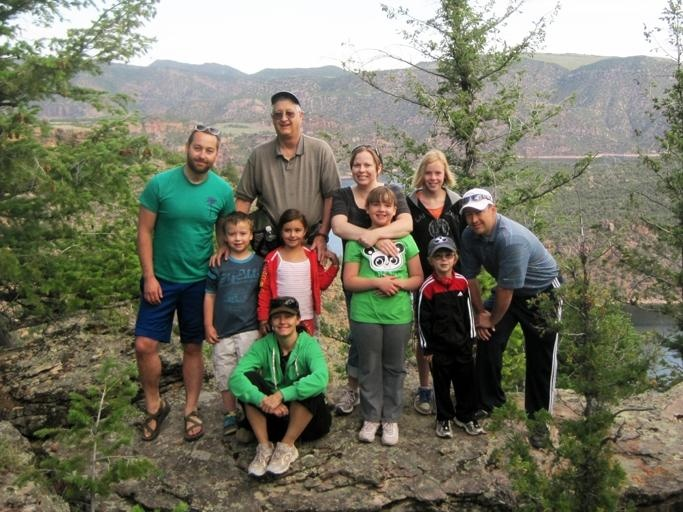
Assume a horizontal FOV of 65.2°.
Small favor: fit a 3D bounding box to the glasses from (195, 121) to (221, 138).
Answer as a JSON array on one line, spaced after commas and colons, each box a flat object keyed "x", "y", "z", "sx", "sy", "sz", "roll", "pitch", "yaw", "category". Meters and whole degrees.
[{"x": -1.528, "y": -1.433, "z": 6.097, "sx": 0.323, "sy": 0.156, "sz": 0.163, "roll": 3, "pitch": -3, "yaw": -43, "category": "glasses"}]

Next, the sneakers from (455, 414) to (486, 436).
[{"x": 1.553, "y": 2.012, "z": 6.459, "sx": 0.357, "sy": 0.164, "sz": 0.166, "roll": 13, "pitch": 17, "yaw": 37, "category": "sneakers"}]

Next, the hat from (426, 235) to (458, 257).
[{"x": 1.155, "y": -0.116, "z": 6.171, "sx": 0.310, "sy": 0.223, "sz": 0.211, "roll": 0, "pitch": -2, "yaw": 12, "category": "hat"}]

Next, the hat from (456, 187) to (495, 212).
[{"x": 1.573, "y": -0.651, "z": 6.164, "sx": 0.367, "sy": 0.296, "sz": 0.251, "roll": 0, "pitch": -2, "yaw": 10, "category": "hat"}]

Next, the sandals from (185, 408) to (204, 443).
[{"x": -1.759, "y": 2.025, "z": 6.322, "sx": 0.164, "sy": 0.174, "sz": 0.419, "roll": -3, "pitch": 5, "yaw": -19, "category": "sandals"}]

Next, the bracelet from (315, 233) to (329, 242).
[{"x": -0.224, "y": -0.245, "z": 6.641, "sx": 0.145, "sy": 0.100, "sz": 0.158, "roll": 13, "pitch": -13, "yaw": 31, "category": "bracelet"}]

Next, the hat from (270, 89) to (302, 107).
[{"x": -0.659, "y": -1.876, "z": 6.344, "sx": 0.360, "sy": 0.171, "sz": 0.364, "roll": 1, "pitch": -2, "yaw": -12, "category": "hat"}]

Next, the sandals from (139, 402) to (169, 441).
[{"x": -2.254, "y": 1.961, "z": 6.424, "sx": 0.187, "sy": 0.181, "sz": 0.511, "roll": 0, "pitch": 30, "yaw": 12, "category": "sandals"}]

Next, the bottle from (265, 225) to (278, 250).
[{"x": -0.847, "y": -0.232, "z": 6.491, "sx": 0.193, "sy": 0.244, "sz": 0.097, "roll": 2, "pitch": 0, "yaw": -14, "category": "bottle"}]

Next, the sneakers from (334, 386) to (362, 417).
[{"x": 0.080, "y": 1.826, "z": 6.778, "sx": 0.191, "sy": 0.242, "sz": 0.539, "roll": 21, "pitch": 1, "yaw": 23, "category": "sneakers"}]

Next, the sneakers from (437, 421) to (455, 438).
[{"x": 1.221, "y": 2.061, "z": 6.332, "sx": 0.117, "sy": 0.114, "sz": 0.270, "roll": 2, "pitch": -3, "yaw": 2, "category": "sneakers"}]

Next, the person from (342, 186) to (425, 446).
[{"x": 0.474, "y": 0.685, "z": 6.250, "sx": 0.915, "sy": 3.020, "sz": 0.362, "roll": 0, "pitch": -2, "yaw": 7, "category": "person"}]

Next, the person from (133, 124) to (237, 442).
[{"x": -1.887, "y": 0.352, "z": 6.251, "sx": 1.030, "sy": 3.638, "sz": 0.751, "roll": 1, "pitch": -2, "yaw": -16, "category": "person"}]

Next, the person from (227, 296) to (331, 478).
[{"x": -0.671, "y": 1.410, "z": 5.979, "sx": 1.085, "sy": 1.895, "sz": 0.535, "roll": 1, "pitch": -2, "yaw": -2, "category": "person"}]
